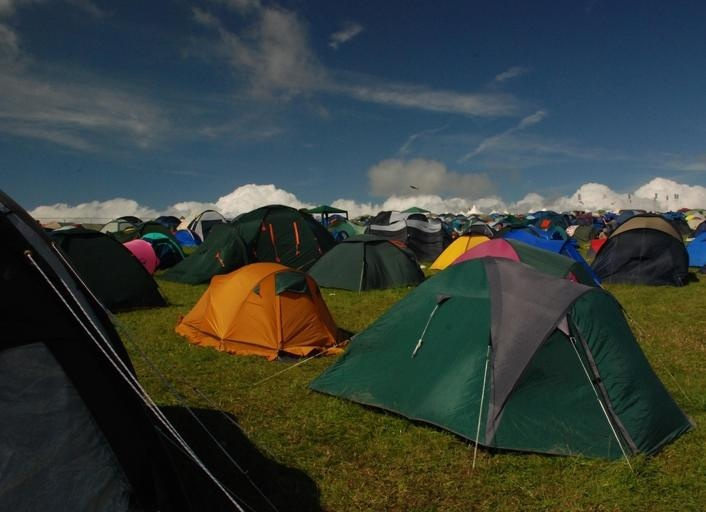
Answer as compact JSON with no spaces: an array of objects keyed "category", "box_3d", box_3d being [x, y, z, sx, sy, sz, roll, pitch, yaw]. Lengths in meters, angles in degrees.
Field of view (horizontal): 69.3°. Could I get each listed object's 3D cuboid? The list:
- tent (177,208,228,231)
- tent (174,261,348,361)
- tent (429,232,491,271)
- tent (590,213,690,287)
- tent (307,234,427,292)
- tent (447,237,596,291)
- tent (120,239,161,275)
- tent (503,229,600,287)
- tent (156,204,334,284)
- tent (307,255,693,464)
[{"category":"tent","box_3d":[-9.013,-2.097,30.953,2.941,1.194,2.971,-3,6,2]},{"category":"tent","box_3d":[-2.232,1.146,11.003,2.087,1.016,2.622,-5,8,-41]},{"category":"tent","box_3d":[4.277,-0.256,21.242,1.871,0.881,1.862,1,7,26]},{"category":"tent","box_3d":[10.350,-0.128,18.298,2.621,1.866,3.880,0,2,37]},{"category":"tent","box_3d":[0.676,0.307,17.637,2.453,1.088,2.491,2,5,40]},{"category":"tent","box_3d":[3.699,0.030,10.695,1.786,0.538,1.723,-9,11,-38]},{"category":"tent","box_3d":[-7.469,0.020,17.944,1.003,0.557,1.154,18,13,11]},{"category":"tent","box_3d":[5.115,-0.028,13.126,1.885,0.869,2.474,-9,24,-43]},{"category":"tent","box_3d":[-3.428,-0.541,19.156,4.605,1.593,3.417,-5,4,-34]},{"category":"tent","box_3d":[2.058,1.657,7.967,3.734,1.486,3.259,6,10,44]}]
